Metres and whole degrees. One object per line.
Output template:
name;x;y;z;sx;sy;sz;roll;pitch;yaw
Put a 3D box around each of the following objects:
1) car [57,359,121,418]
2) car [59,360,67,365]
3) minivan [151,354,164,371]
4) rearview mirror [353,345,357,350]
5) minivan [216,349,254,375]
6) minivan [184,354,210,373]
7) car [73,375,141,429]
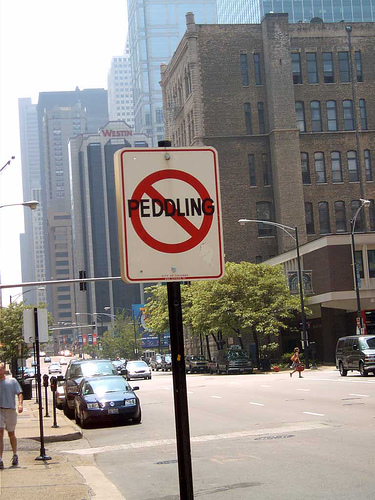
car;-3.240;4.213;24.817;1.530;1.039;2.440;0;-12;-10
car;-21.685;19.621;135.315;1.412;0.573;2.027;2;-1;-7
minivan;-3.113;11.730;81.076;1.576;1.246;2.211;0;-2;-4
rearview mirror;7.456;4.336;34.531;0.177;0.279;0.173;1;8;-1
minivan;2.997;7.189;50.072;2.145;1.698;3.443;-5;-5;-3
minivan;0.697;8.602;58.321;1.694;1.352;3.507;-5;-5;0
car;-2.205;4.161;21.110;1.697;1.231;2.132;-4;-5;-11
